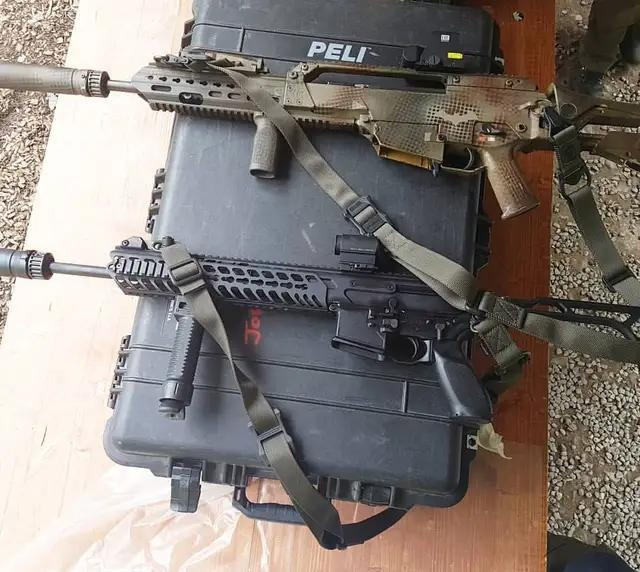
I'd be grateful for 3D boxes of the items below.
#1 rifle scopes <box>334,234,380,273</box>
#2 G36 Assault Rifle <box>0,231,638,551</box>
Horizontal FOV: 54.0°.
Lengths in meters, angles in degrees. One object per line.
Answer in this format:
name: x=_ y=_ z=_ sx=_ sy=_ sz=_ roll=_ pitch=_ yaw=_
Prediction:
rifle scopes: x=0.137 y=-0.135 z=2.291 sx=0.146 sy=0.064 sz=0.130 roll=3 pitch=79 yaw=4
G36 Assault Rifle: x=0.199 y=0.428 z=2.623 sx=1.869 sy=0.707 sz=1.099 roll=3 pitch=76 yaw=3
